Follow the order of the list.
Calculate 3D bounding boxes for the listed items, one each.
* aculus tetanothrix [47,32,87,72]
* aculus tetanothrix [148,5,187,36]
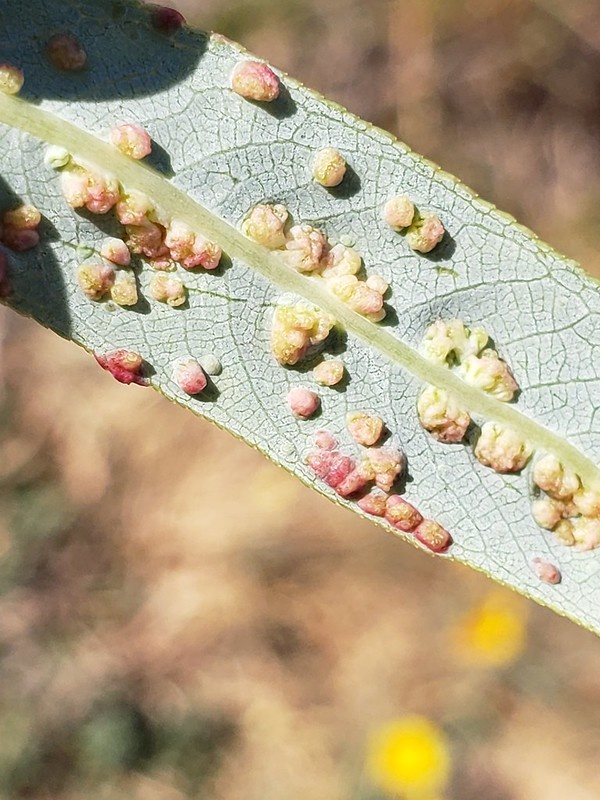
[{"bbox_3d":[-0.684,-1.007,2.798,0.102,0.071,0.093,-20,70,-5],"label":"aculus tetanothrix"},{"bbox_3d":[-0.382,-1.101,2.781,0.105,0.044,0.073,7,70,5],"label":"aculus tetanothrix"}]
